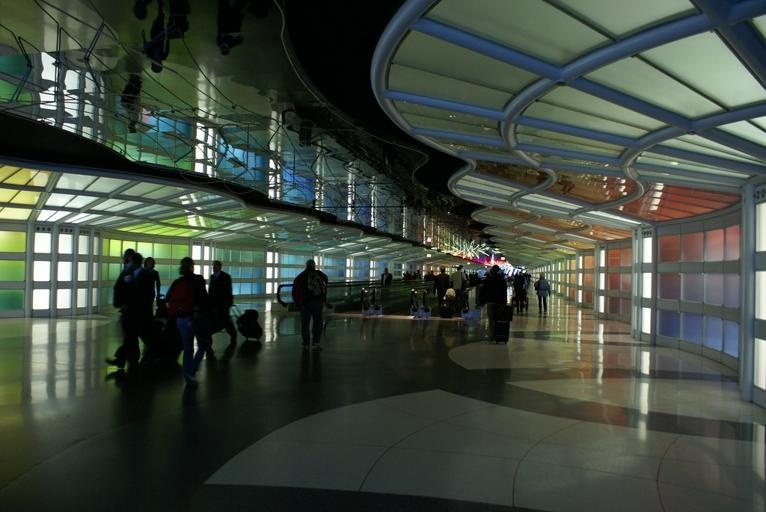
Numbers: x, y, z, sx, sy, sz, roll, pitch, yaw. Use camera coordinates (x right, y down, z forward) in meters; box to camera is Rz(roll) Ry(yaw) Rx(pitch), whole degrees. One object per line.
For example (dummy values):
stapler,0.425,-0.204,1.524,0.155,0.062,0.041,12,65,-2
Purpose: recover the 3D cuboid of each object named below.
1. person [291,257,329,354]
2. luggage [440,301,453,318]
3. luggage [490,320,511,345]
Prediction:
person,-1.773,1.188,13.740,0.766,2.226,0.770,8,11,23
luggage,2.423,2.016,21.491,0.541,0.559,0.384,1,10,-9
luggage,3.099,1.985,14.905,0.445,0.648,0.352,4,10,7
